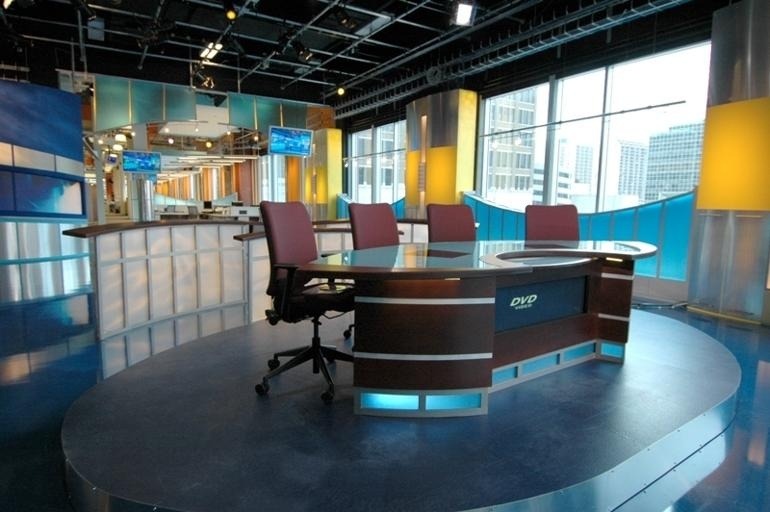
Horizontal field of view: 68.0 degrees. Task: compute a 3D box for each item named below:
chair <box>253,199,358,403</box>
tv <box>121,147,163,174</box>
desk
[{"bbox_3d":[-0.648,0.373,6.018,1.530,1.878,1.374,1,6,-18],"label":"chair"},{"bbox_3d":[-5.582,-2.181,13.029,0.858,0.472,0.111,-2,12,-28],"label":"tv"},{"bbox_3d":[0.899,0.702,5.655,3.075,1.481,1.168,-5,9,-28],"label":"desk"}]
